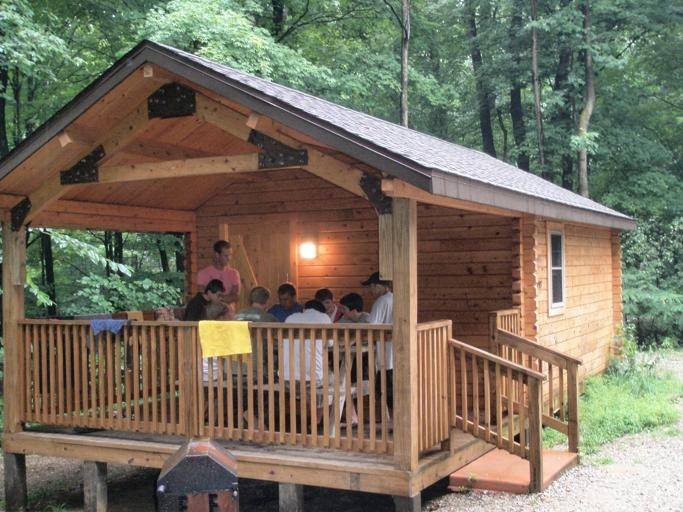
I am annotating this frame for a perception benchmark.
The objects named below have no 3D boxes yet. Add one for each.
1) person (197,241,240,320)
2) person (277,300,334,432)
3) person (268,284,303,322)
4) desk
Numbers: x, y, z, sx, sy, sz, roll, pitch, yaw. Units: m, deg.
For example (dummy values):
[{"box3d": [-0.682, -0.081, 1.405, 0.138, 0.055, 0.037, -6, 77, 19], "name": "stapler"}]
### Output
[{"box3d": [-2.268, 0.677, 15.574, 0.789, 1.922, 0.581, 0, 11, -22], "name": "person"}, {"box3d": [-0.522, 1.676, 12.924, 0.729, 1.581, 1.800, -1, -1, -4], "name": "person"}, {"box3d": [-0.912, 0.749, 14.112, 0.711, 0.692, 0.415, 2, 18, 17], "name": "person"}, {"box3d": [-0.433, 1.859, 13.056, 1.582, 1.347, 1.682, -5, -7, 30], "name": "desk"}]
